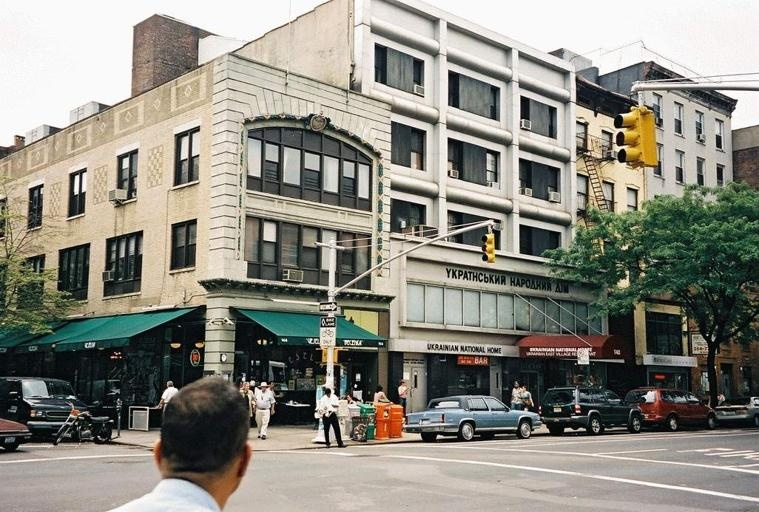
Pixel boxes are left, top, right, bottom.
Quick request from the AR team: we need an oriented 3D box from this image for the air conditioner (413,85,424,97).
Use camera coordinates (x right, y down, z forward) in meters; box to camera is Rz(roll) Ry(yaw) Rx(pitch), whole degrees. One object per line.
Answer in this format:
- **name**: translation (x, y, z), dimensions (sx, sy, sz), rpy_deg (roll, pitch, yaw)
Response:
- **air conditioner**: translation (2.264, -9.459, 54.112), dimensions (0.245, 0.738, 0.937), rpy_deg (-16, -22, 39)

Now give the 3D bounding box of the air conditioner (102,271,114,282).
- **air conditioner**: translation (-14.699, 1.089, 51.439), dimensions (0.528, 0.462, 0.303), rpy_deg (-10, -15, 41)

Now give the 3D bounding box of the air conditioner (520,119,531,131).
- **air conditioner**: translation (9.004, -8.077, 58.688), dimensions (0.428, 0.539, 0.805), rpy_deg (-13, -16, 43)

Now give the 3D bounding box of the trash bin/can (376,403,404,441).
- **trash bin/can**: translation (0.413, 7.641, 43.646), dimensions (0.886, 1.288, 1.478), rpy_deg (-12, -15, 40)

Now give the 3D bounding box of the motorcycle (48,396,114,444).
- **motorcycle**: translation (-12.151, 6.981, 39.990), dimensions (3.587, 1.889, 1.408), rpy_deg (-1, -5, 18)

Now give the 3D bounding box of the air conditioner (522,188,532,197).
- **air conditioner**: translation (9.084, -3.926, 58.638), dimensions (0.578, 0.366, 0.287), rpy_deg (6, -14, -38)

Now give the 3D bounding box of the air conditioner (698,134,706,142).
- **air conditioner**: translation (24.312, -8.937, 71.790), dimensions (0.382, 0.429, 0.687), rpy_deg (-7, -11, 37)

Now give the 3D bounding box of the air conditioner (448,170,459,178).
- **air conditioner**: translation (4.269, -4.725, 54.870), dimensions (0.552, 0.384, 0.557), rpy_deg (-9, -13, 40)

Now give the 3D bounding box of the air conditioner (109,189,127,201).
- **air conditioner**: translation (-14.059, -3.128, 51.025), dimensions (0.593, 0.647, 1.063), rpy_deg (-13, -14, 43)

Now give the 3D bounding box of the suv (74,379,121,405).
- **suv**: translation (-14.217, 6.920, 48.168), dimensions (1.887, 1.157, 0.955), rpy_deg (-6, -19, 19)

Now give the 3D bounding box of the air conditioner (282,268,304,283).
- **air conditioner**: translation (-4.338, 0.994, 47.806), dimensions (0.412, 0.773, 1.229), rpy_deg (-16, -22, 40)

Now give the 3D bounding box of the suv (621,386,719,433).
- **suv**: translation (15.810, 8.350, 51.298), dimensions (5.374, 1.807, 2.402), rpy_deg (7, -12, -34)

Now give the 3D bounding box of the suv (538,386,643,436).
- **suv**: translation (10.895, 7.856, 47.649), dimensions (5.912, 2.357, 1.941), rpy_deg (7, -19, -27)
